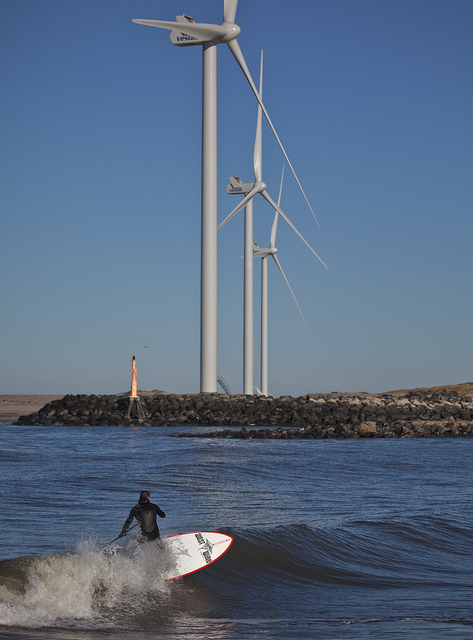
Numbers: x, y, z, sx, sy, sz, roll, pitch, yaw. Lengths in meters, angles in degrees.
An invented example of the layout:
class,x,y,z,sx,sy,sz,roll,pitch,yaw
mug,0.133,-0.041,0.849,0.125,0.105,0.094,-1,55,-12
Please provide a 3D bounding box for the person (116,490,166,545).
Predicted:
class,x,y,z,sx,sy,sz,roll,pitch,yaw
person,-1.737,3.663,21.266,0.746,1.000,1.113,1,0,-4
